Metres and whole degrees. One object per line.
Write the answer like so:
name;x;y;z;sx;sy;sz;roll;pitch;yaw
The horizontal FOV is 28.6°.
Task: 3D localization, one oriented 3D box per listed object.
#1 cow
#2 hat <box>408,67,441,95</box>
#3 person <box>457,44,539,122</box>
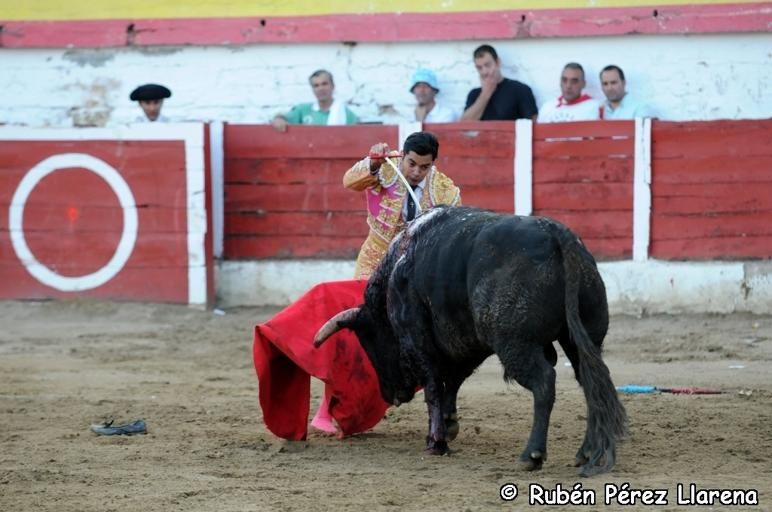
cow;0.626;0.505;9.495;1.741;1.596;0.488;3;12;37
hat;0.328;-1.472;12.643;0.206;0.127;0.208;2;0;5
person;0.909;-1.307;12.518;0.639;0.801;0.434;-6;2;15
